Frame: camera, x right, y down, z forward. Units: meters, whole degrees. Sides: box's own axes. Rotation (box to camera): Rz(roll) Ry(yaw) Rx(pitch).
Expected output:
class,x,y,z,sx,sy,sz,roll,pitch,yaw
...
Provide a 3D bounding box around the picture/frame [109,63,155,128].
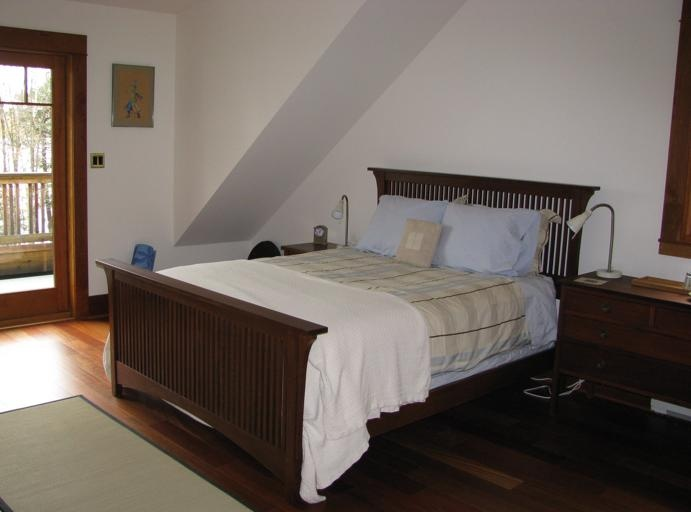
class,x,y,z,sx,sy,sz,roll,pitch,yaw
picture/frame,-2.082,-1.565,5.078,0.582,0.790,0.054,-7,16,-41

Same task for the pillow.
class,x,y,z,sx,sy,sz,roll,pitch,yaw
pillow,0.858,-0.169,4.086,1.389,0.471,0.444,10,14,33
